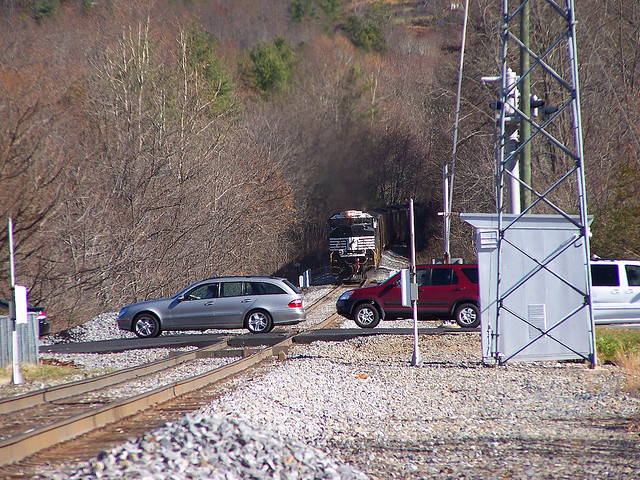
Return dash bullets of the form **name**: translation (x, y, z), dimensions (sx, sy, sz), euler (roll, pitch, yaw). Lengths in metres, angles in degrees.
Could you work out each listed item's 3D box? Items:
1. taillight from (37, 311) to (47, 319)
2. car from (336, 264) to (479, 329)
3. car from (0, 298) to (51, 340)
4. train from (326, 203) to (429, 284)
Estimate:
- **taillight**: translation (-9.797, 2.624, 35.340), dimensions (0.197, 0.216, 0.216), euler (0, -6, -6)
- **car**: translation (3.652, 2.099, 38.319), dimensions (4.479, 2.100, 2.279), euler (1, -2, 8)
- **car**: translation (-10.594, 2.759, 35.748), dimensions (1.744, 1.698, 1.795), euler (2, -3, -33)
- **train**: translation (4.058, -0.445, 68.166), dimensions (2.721, 4.412, 23.178), euler (-1, 3, 7)
